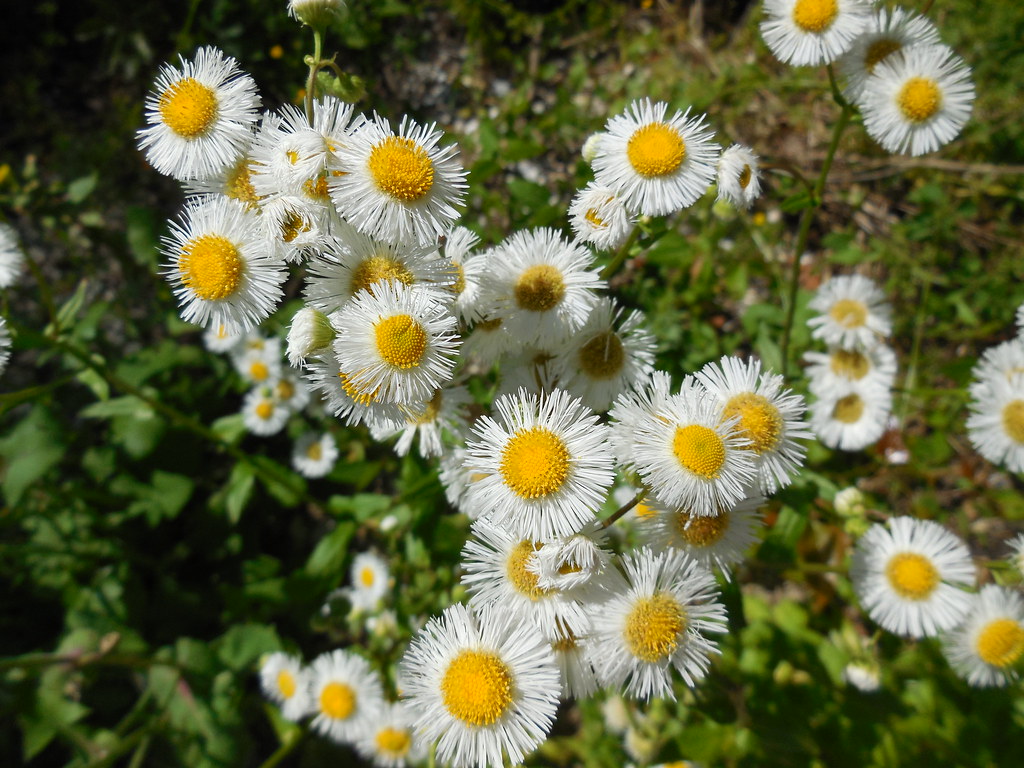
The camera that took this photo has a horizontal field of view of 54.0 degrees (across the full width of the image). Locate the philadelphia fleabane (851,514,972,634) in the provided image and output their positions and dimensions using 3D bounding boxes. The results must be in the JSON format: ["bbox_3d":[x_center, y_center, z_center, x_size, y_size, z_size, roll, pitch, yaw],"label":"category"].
[{"bbox_3d":[1.216,0.585,3.053,0.347,0.131,0.352,2,84,3],"label":"philadelphia fleabane"}]

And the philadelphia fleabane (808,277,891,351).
[{"bbox_3d":[1.131,-0.291,3.446,0.213,0.232,0.103,-9,87,-19],"label":"philadelphia fleabane"}]

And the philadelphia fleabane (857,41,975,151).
[{"bbox_3d":[1.226,-0.867,3.073,0.327,0.097,0.316,-13,84,1],"label":"philadelphia fleabane"}]

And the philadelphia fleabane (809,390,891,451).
[{"bbox_3d":[1.113,0.156,3.372,0.255,0.287,0.114,-15,105,13],"label":"philadelphia fleabane"}]
